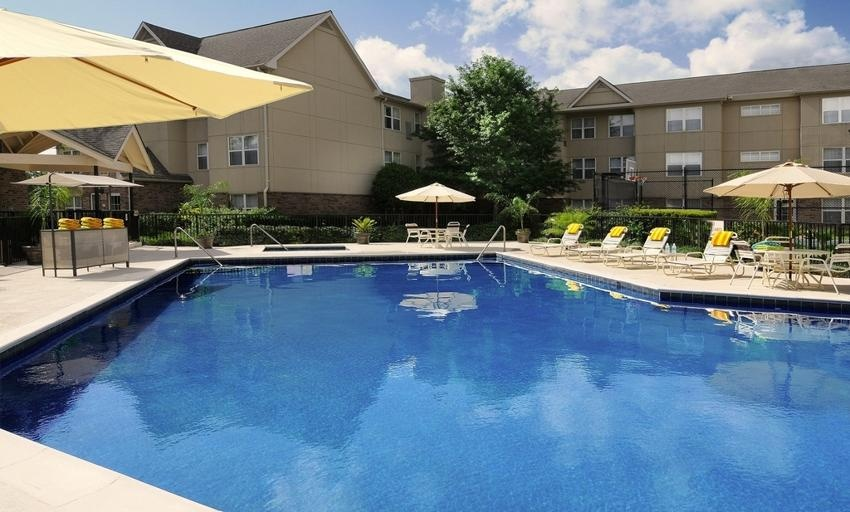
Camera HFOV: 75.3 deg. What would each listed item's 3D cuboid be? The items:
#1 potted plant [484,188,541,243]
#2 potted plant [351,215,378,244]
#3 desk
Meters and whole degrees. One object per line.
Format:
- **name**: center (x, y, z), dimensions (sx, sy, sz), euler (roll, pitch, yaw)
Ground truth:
- **potted plant**: center (4.760, -2.333, 29.913), dimensions (3.208, 2.762, 3.358), euler (-3, 0, 42)
- **potted plant**: center (-3.190, -1.273, 27.611), dimensions (1.492, 1.276, 1.428), euler (-6, -7, 32)
- **desk**: center (-9.900, -0.200, 16.083), dimensions (0.753, 1.310, 2.218), euler (3, 11, 20)
